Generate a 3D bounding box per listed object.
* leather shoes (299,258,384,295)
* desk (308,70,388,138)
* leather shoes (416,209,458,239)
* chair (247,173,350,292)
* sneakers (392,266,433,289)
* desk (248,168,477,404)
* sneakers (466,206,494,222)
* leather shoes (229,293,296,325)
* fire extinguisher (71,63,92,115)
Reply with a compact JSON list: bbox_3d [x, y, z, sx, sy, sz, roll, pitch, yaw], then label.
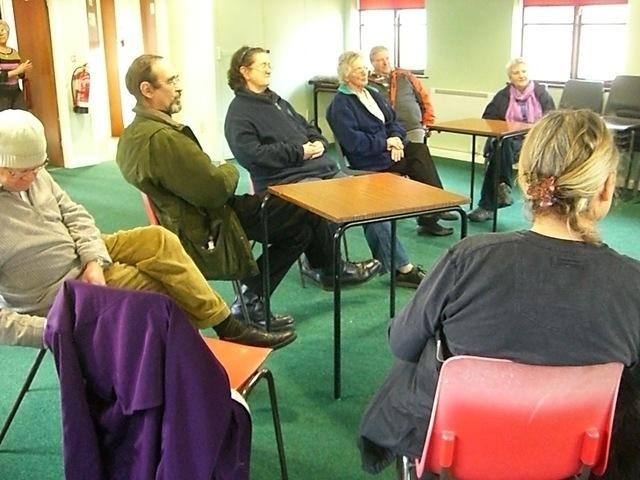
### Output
[{"bbox_3d":[0.161,0.179,3.619,0.609,0.270,0.205,-8,25,-8],"label":"leather shoes"},{"bbox_3d":[0.277,-1.784,7.161,0.647,0.884,0.628,-9,22,-22],"label":"desk"},{"bbox_3d":[0.866,-0.111,4.091,0.227,0.225,0.112,-8,26,-4],"label":"leather shoes"},{"bbox_3d":[-0.194,-0.001,3.250,0.494,0.666,0.627,-12,25,-24],"label":"chair"},{"bbox_3d":[0.596,0.243,3.507,0.245,0.102,0.093,2,9,7],"label":"sneakers"},{"bbox_3d":[0.195,0.100,2.909,0.993,1.182,1.074,-11,21,-27],"label":"desk"},{"bbox_3d":[1.381,-0.232,4.719,0.258,0.112,0.100,0,1,-22],"label":"sneakers"},{"bbox_3d":[-0.297,0.380,3.092,0.406,0.209,0.150,2,1,-3],"label":"leather shoes"},{"bbox_3d":[-2.868,-1.808,6.535,0.234,0.560,0.251,-8,15,-22],"label":"fire extinguisher"}]
